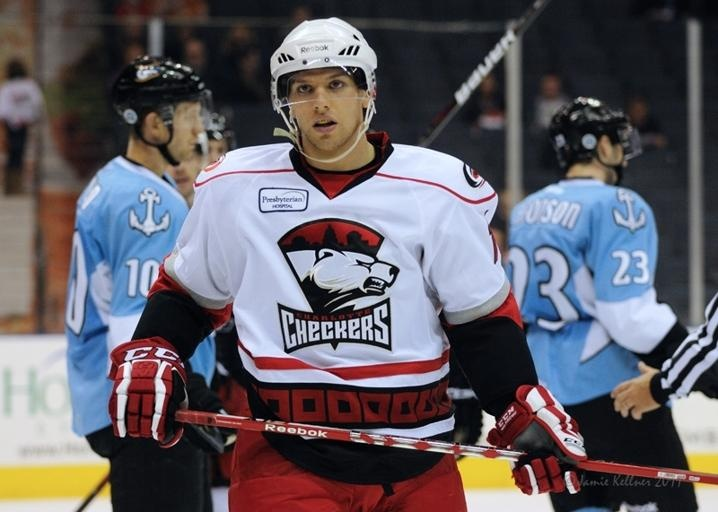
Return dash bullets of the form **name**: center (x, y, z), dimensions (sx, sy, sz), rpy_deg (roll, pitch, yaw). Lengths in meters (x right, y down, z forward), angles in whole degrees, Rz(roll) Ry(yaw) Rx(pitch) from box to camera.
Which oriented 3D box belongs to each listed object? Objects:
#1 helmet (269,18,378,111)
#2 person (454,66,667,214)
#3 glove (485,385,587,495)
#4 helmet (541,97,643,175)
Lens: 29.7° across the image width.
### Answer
- **helmet**: center (-0.200, -0.849, 6.339), dimensions (0.469, 0.441, 0.528), rpy_deg (-9, -9, 13)
- **person**: center (1.228, -0.713, 8.504), dimensions (0.693, 1.006, 0.354), rpy_deg (3, -15, 6)
- **glove**: center (0.849, 0.792, 6.195), dimensions (0.424, 0.187, 0.341), rpy_deg (16, 31, -23)
- **helmet**: center (1.221, -0.639, 7.246), dimensions (0.463, 0.404, 0.365), rpy_deg (-21, 21, 15)
